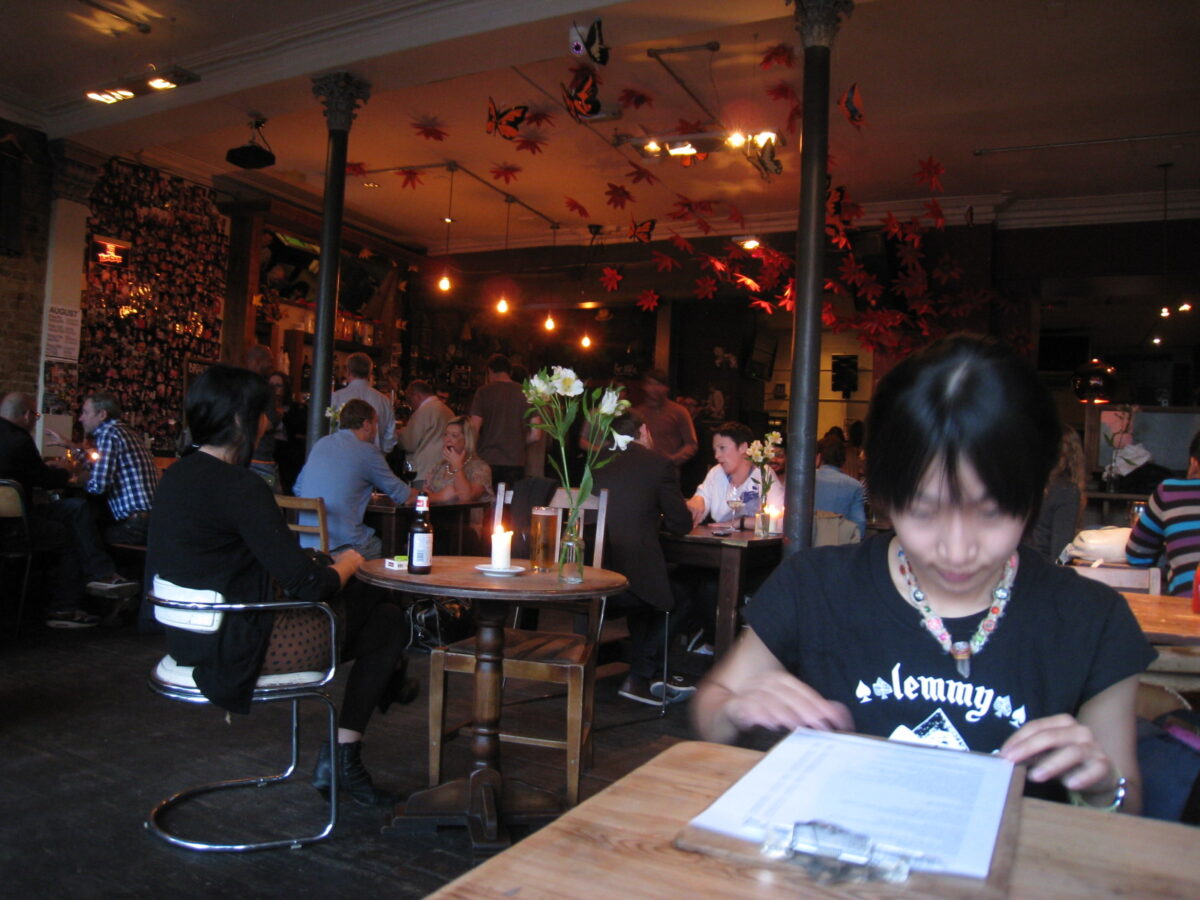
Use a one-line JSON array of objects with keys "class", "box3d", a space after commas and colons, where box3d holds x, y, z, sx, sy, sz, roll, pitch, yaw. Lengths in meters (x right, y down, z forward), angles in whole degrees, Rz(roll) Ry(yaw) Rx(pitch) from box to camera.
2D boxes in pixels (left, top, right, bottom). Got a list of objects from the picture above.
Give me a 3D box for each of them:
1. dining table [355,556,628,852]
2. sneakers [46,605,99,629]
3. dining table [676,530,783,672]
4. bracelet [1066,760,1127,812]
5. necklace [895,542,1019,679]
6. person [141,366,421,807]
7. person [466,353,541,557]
[{"class": "dining table", "box3d": [-0.451, 0.908, 3.574, 0.949, 0.815, 0.954, 1, -8, -3]}, {"class": "sneakers", "box3d": [-3.497, 1.103, 6.106, 0.356, 0.146, 0.140, 3, -7, -19]}, {"class": "dining table", "box3d": [0.652, 0.806, 5.284, 0.782, 0.732, 0.792, -2, -9, 32]}, {"class": "bracelet", "box3d": [0.860, 0.588, 1.614, 0.090, 0.038, 0.080, -11, 16, 44]}, {"class": "necklace", "box3d": [0.664, 0.298, 1.686, 0.150, 0.257, 0.047, -2, 2, 18]}, {"class": "person", "box3d": [-1.157, 0.517, 3.318, 0.852, 1.615, 0.505, 1, 3, -26]}, {"class": "person", "box3d": [-0.901, -0.014, 8.516, 0.560, 1.752, 0.510, 1, 21, -5]}]
